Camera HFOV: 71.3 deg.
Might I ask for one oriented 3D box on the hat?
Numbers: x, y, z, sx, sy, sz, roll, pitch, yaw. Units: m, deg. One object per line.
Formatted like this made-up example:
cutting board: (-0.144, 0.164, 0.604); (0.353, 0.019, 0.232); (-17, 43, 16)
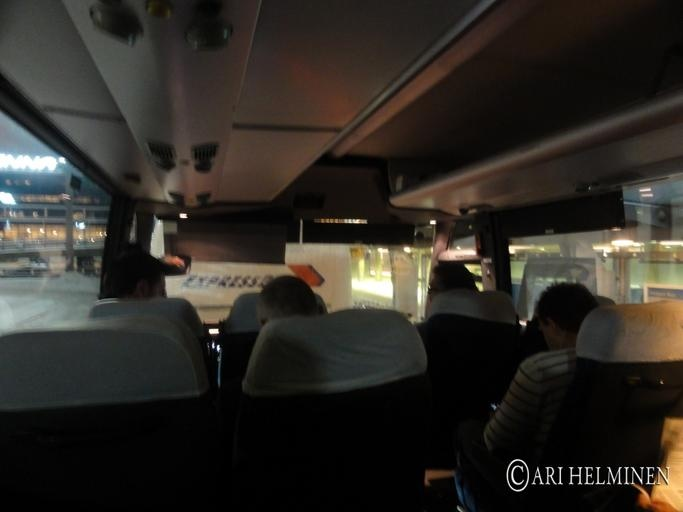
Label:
hat: (-1.521, 0.116, 3.625); (0.389, 0.500, 0.559); (6, -1, 30)

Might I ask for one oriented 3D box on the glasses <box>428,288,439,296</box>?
glasses: (0.726, 0.276, 3.700); (0.117, 0.034, 0.117); (13, -13, -35)
